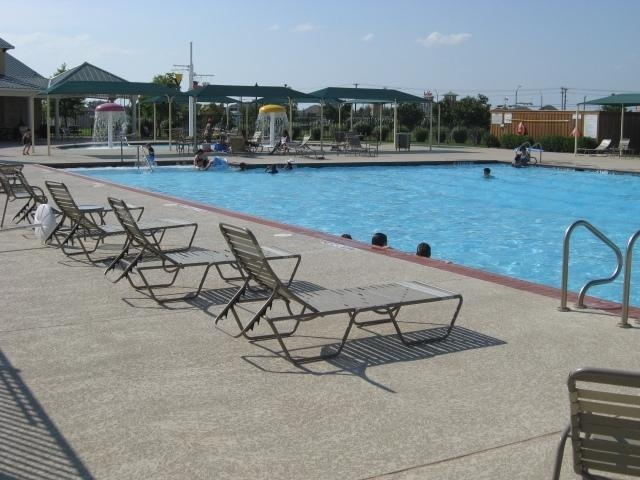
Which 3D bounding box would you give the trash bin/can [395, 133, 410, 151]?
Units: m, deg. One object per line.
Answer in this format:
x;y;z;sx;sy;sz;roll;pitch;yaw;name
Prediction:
5.040;-6.015;36.014;0.858;0.910;0.712;4;13;17;trash bin/can

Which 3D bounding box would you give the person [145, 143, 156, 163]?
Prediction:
-7.421;-3.748;25.977;0.312;0.891;1.881;-3;12;-14;person
